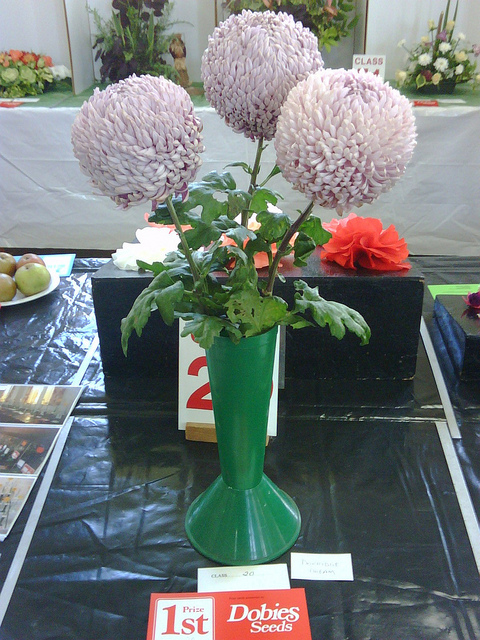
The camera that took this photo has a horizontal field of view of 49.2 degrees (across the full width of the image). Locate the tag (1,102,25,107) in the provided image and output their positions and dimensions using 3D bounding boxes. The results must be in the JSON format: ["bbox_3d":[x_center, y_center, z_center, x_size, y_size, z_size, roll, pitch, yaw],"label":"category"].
[{"bbox_3d":[-1.008,-0.950,2.315,0.090,0.010,0.090,-3,31,-5],"label":"tag"}]

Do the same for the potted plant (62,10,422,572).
[{"bbox_3d":[-0.017,-0.035,0.614,0.307,0.543,0.277,-9,34,-18],"label":"potted plant"}]

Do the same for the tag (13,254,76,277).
[{"bbox_3d":[-0.599,-0.167,1.616,0.172,0.006,0.089,1,39,-1],"label":"tag"}]

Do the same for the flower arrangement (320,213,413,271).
[{"bbox_3d":[0.277,-0.156,1.142,0.192,0.085,0.177,3,-8,-39],"label":"flower arrangement"}]

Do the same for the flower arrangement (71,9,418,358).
[{"bbox_3d":[0.008,-0.086,0.559,0.307,0.330,0.213,-3,25,0],"label":"flower arrangement"}]

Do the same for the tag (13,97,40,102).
[{"bbox_3d":[-0.985,-1.017,2.418,0.091,0.002,0.029,1,50,1],"label":"tag"}]

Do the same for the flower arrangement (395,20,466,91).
[{"bbox_3d":[0.906,-1.184,2.344,0.221,0.228,0.186,-15,8,-19],"label":"flower arrangement"}]

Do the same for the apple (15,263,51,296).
[{"bbox_3d":[-0.590,-0.116,1.499,0.099,0.091,0.063,-21,38,-29],"label":"apple"}]

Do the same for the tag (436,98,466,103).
[{"bbox_3d":[0.926,-0.962,2.296,0.115,0.004,0.120,8,32,12],"label":"tag"}]
